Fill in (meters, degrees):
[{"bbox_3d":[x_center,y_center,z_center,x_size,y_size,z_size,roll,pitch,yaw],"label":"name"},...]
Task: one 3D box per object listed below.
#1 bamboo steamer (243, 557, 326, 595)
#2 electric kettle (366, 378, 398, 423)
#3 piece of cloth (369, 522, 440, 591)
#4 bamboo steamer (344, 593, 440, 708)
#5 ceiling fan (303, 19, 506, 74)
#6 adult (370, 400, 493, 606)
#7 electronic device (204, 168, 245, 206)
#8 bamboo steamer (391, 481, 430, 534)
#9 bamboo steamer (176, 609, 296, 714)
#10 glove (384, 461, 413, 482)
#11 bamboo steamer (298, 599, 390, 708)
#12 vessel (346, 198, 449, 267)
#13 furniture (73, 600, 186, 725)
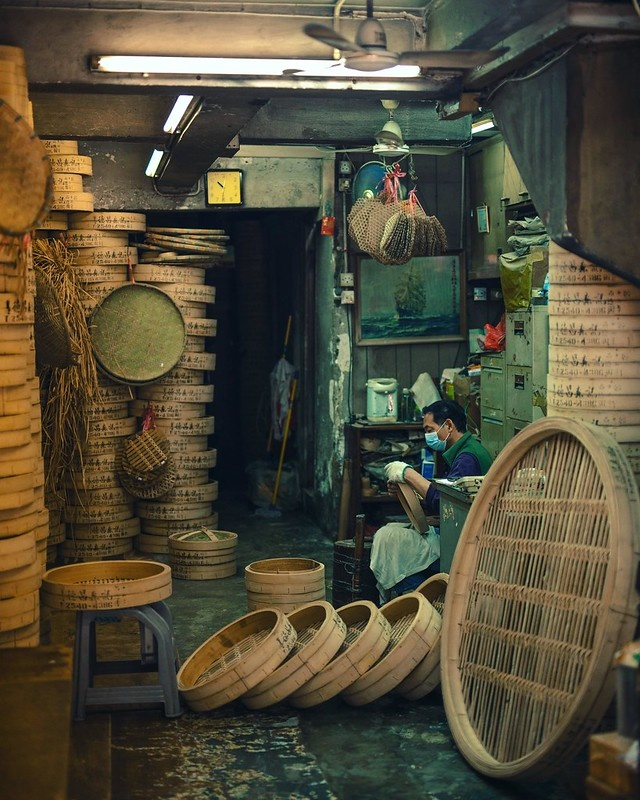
[{"bbox_3d":[-0.215,1.033,5.008,0.430,0.149,0.457,-2,4,-11],"label":"bamboo steamer"},{"bbox_3d":[0.518,-0.004,7.080,0.330,0.380,0.340,0,-5,-5],"label":"electric kettle"},{"bbox_3d":[0.470,0.914,5.045,0.457,0.390,0.307,2,1,18],"label":"piece of cloth"},{"bbox_3d":[0.370,1.091,4.129,0.518,0.142,0.508,-35,11,16],"label":"bamboo steamer"},{"bbox_3d":[0.310,-1.293,3.142,0.544,0.106,0.543,3,3,5],"label":"ceiling fan"},{"bbox_3d":[0.705,0.689,5.225,0.774,1.268,0.615,4,-3,15],"label":"adult"},{"bbox_3d":[-0.778,-1.723,6.994,0.288,0.284,0.100,-2,4,-11],"label":"electronic device"},{"bbox_3d":[0.547,0.645,5.087,0.071,0.258,0.279,-29,-4,-5],"label":"bamboo steamer"},{"bbox_3d":[-0.390,1.220,4.061,0.515,0.121,0.500,-32,18,-34],"label":"bamboo steamer"},{"bbox_3d":[0.476,0.444,5.299,0.142,0.166,0.073,5,-3,9],"label":"glove"},{"bbox_3d":[0.114,1.154,4.100,0.489,0.129,0.481,-37,4,1],"label":"bamboo steamer"},{"bbox_3d":[0.491,-1.081,5.411,0.439,0.437,0.477,-4,5,-33],"label":"vessel"},{"bbox_3d":[-0.877,1.193,4.113,0.544,0.562,0.612,-2,2,3],"label":"furniture"}]
